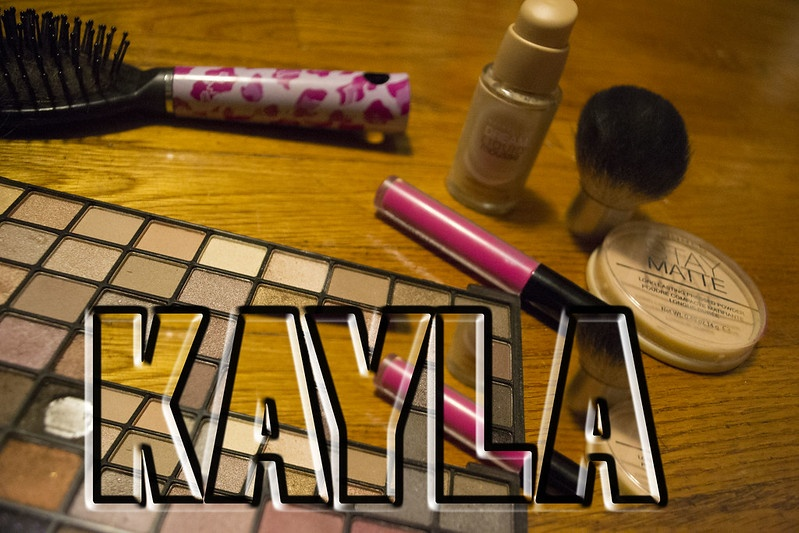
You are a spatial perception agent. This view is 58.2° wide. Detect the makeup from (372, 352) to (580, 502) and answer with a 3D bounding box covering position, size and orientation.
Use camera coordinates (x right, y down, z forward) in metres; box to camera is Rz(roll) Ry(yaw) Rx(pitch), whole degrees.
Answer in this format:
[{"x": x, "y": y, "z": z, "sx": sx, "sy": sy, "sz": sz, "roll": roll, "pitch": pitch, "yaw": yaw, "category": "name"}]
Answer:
[{"x": 0.064, "y": 0.154, "z": 0.667, "sx": 0.191, "sy": 0.046, "sz": 0.038, "roll": 31, "pitch": -2, "yaw": 10, "category": "makeup"}]
